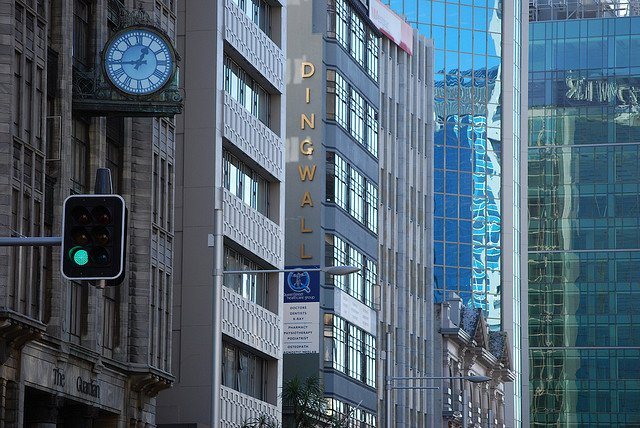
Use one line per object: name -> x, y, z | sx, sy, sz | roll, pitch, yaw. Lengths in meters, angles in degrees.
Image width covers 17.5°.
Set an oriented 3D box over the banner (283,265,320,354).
banner -> -1.056, 6.185, 139.279 | 3.187, 7.444, 0.816 | -2, -1, 40
